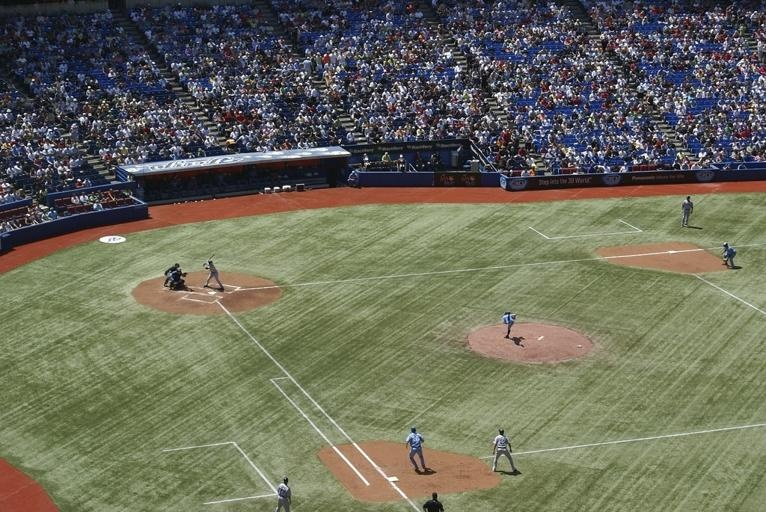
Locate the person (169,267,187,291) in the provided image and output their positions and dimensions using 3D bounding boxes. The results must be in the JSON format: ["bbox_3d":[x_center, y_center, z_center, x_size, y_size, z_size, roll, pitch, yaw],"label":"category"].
[{"bbox_3d":[-13.086,1.478,63.259,1.278,1.299,0.731,-23,23,-18],"label":"person"}]
